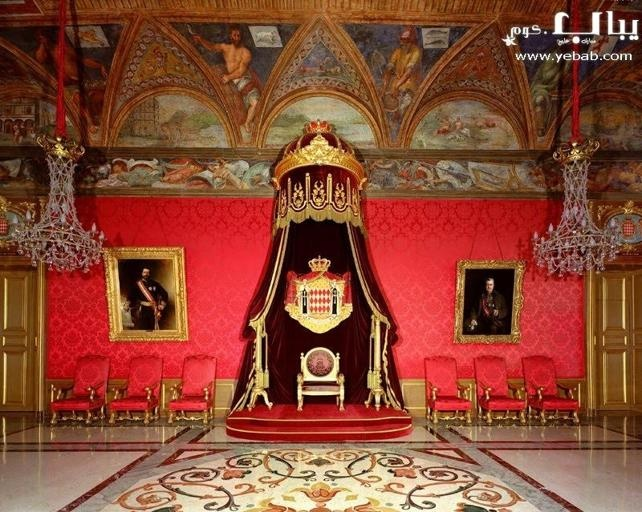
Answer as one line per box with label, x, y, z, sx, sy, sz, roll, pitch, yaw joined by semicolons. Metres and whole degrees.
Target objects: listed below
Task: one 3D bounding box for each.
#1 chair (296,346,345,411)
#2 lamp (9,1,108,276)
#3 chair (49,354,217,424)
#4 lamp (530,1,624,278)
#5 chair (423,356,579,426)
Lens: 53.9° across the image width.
chair;0.000;2.227;11.416;1.058;1.323;0.816;0;-21;1
lamp;-4.481;-1.937;10.756;1.355;4.655;1.936;-2;6;-22
chair;-3.387;2.423;11.543;2.869;1.124;0.810;0;6;1
lamp;4.200;-1.872;10.464;1.294;4.619;2.356;2;6;19
chair;3.254;2.440;11.600;2.696;1.123;0.830;0;6;-2
